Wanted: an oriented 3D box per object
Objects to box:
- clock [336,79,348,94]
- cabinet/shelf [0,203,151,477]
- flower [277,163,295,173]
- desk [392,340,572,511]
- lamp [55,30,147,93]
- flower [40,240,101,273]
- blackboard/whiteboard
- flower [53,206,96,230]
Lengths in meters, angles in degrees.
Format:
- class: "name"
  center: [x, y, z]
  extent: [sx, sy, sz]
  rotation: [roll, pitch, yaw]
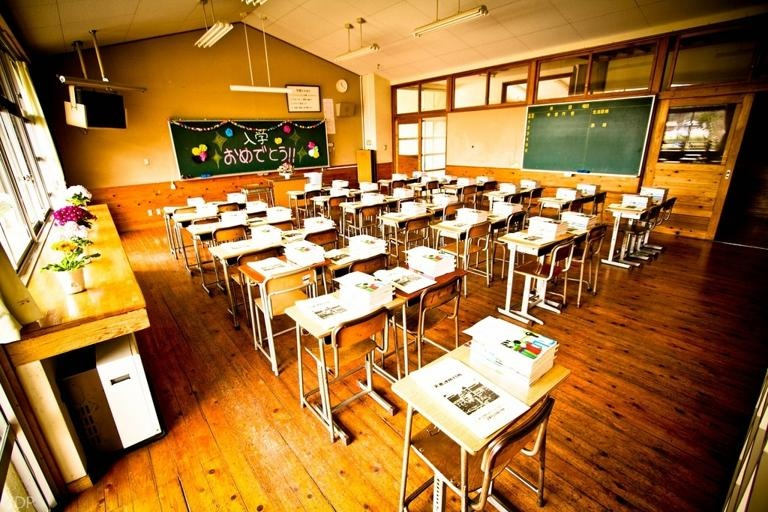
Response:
- class: "clock"
  center: [-1.131, -4.551, 12.003]
  extent: [0.072, 0.320, 0.349]
  rotation: [15, 26, 42]
- class: "cabinet/shelf"
  center: [-2.929, 1.076, 4.562]
  extent: [1.115, 1.679, 1.342]
  rotation: [-14, 21, -27]
- class: "flower"
  center: [-2.468, -2.161, 11.031]
  extent: [0.379, 0.127, 0.367]
  rotation: [-12, 19, -35]
- class: "desk"
  center: [0.868, 1.518, 3.862]
  extent: [1.080, 1.452, 0.964]
  rotation: [-22, 34, -30]
- class: "lamp"
  center: [-5.054, -3.408, 7.856]
  extent: [0.912, 0.971, 2.170]
  rotation: [-12, 20, -24]
- class: "flower"
  center: [-3.155, 0.007, 4.505]
  extent: [0.514, 0.193, 0.455]
  rotation: [-2, 13, -21]
- class: "blackboard/whiteboard"
  center: [4.039, -2.398, 9.089]
  extent: [2.775, 1.471, 0.208]
  rotation: [-3, 19, -9]
- class: "flower"
  center: [-3.614, -0.482, 5.296]
  extent: [0.451, 0.380, 0.476]
  rotation: [-6, 14, -37]
